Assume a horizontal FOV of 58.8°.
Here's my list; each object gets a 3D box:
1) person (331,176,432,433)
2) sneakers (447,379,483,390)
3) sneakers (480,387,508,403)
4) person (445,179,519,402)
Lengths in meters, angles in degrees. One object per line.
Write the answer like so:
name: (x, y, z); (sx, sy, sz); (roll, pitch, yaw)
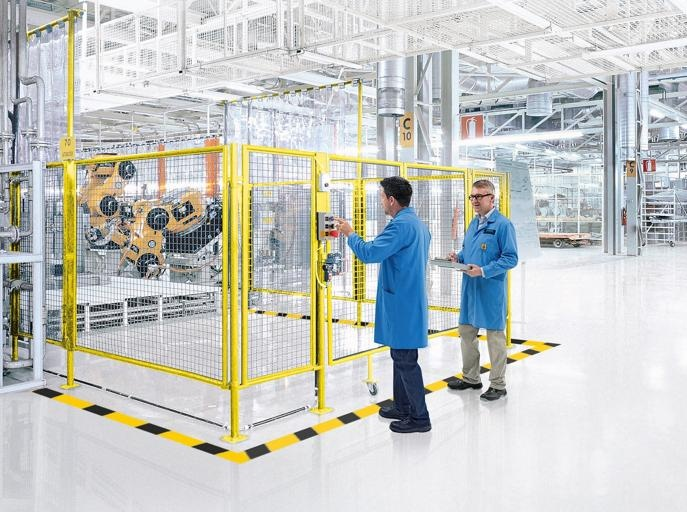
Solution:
person: (0.475, 0.455, 5.827); (0.745, 2.387, 0.508); (1, 9, 11)
sneakers: (1.349, 1.452, 6.835); (0.377, 0.151, 0.136); (6, -5, -2)
sneakers: (1.603, 1.477, 6.532); (0.302, 0.110, 0.120); (5, 25, -34)
person: (1.501, 0.352, 6.624); (0.646, 2.321, 0.718); (-4, 10, -22)
